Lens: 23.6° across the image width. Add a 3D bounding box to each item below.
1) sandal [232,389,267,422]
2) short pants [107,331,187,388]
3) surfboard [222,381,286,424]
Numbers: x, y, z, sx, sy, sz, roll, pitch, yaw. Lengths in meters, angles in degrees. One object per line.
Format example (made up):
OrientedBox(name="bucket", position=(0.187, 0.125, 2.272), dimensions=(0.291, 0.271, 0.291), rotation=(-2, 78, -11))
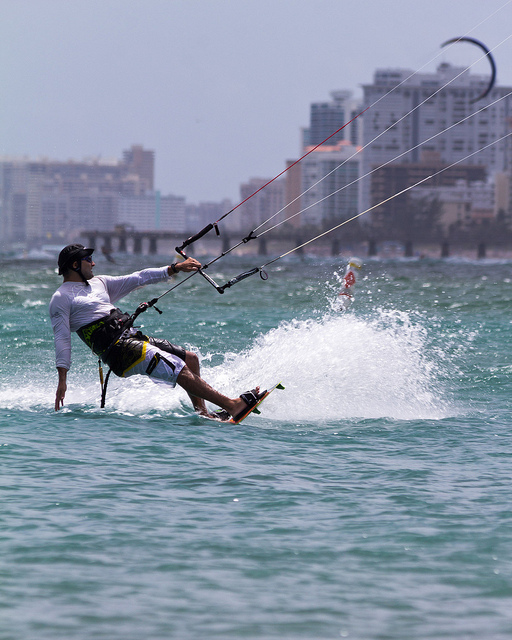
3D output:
OrientedBox(name="sandal", position=(-0.138, 0.725, 10.178), dimensions=(0.373, 0.140, 0.122), rotation=(-37, -4, -10))
OrientedBox(name="short pants", position=(-0.964, 0.330, 9.995), dimensions=(0.695, 0.292, 0.455), rotation=(1, 12, -12))
OrientedBox(name="surfboard", position=(-0.029, 0.729, 10.543), dimensions=(0.546, 0.112, 0.080), rotation=(-31, 30, -17))
